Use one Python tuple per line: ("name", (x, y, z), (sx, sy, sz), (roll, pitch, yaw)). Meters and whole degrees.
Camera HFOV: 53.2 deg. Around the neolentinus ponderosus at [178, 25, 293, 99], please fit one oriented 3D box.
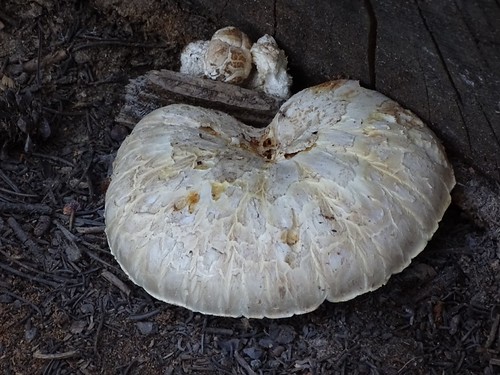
("neolentinus ponderosus", (-0.134, -1.545, 6.272), (1.386, 0.499, 0.999), (17, 88, -4))
